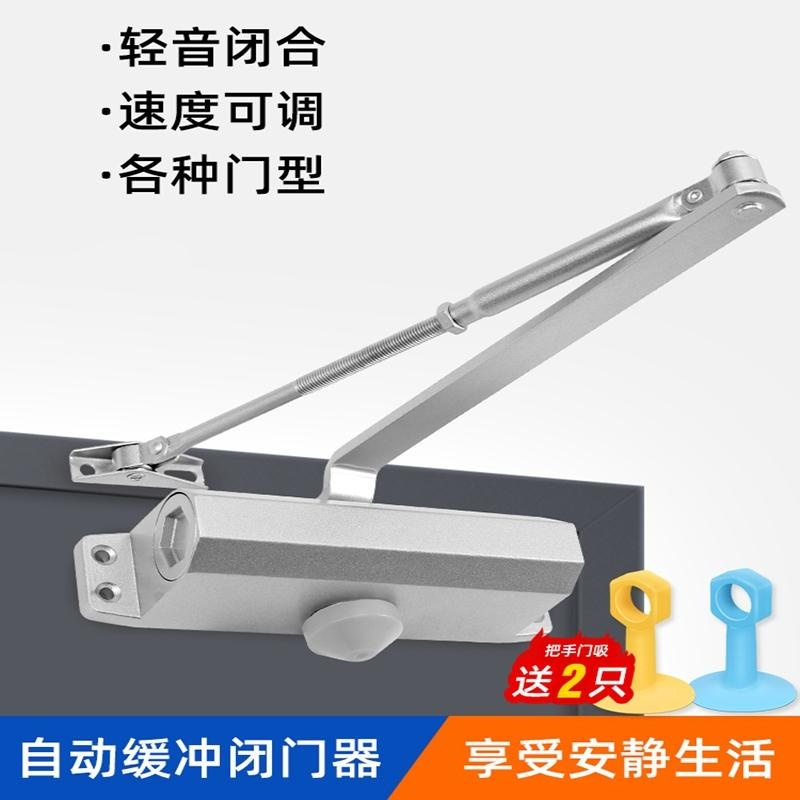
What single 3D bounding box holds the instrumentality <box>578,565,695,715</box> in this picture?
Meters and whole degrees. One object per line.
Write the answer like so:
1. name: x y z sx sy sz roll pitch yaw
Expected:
1. instrumentality: 0.351 0.333 1.567 0.188 0.182 0.197 -1 4 26
